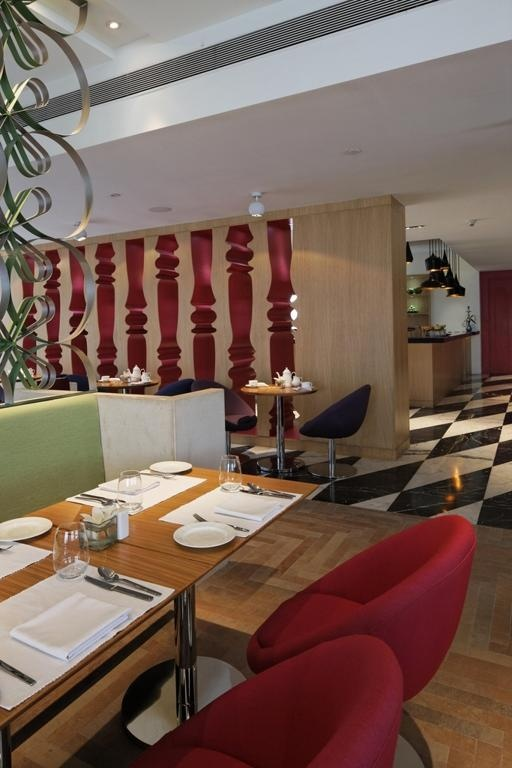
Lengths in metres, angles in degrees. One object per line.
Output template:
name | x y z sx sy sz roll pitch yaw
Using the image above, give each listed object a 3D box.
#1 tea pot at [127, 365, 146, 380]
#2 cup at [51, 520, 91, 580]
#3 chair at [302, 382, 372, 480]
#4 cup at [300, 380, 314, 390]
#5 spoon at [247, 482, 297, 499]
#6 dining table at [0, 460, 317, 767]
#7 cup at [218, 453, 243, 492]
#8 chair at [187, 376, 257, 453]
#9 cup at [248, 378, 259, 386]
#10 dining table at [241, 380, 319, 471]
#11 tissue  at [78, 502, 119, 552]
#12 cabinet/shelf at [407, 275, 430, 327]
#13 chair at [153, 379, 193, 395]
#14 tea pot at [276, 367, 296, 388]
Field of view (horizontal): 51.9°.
tea pot | -1.345 -0.120 5.980 0.231 0.221 0.168 4 5 15
cup | -0.406 0.374 1.175 0.050 0.126 0.073 1 6 32
chair | 0.852 0.402 4.799 0.718 0.916 0.789 1 2 14
cup | 0.462 0.019 4.810 0.100 0.075 0.079 2 2 17
spoon | 0.046 0.356 1.761 0.189 0.028 0.050 5 13 34
dining table | -0.287 0.639 1.460 0.452 0.427 0.859 2 8 27
cup | -0.090 0.301 1.786 0.105 0.152 0.104 0 1 0
chair | -0.250 0.420 4.965 0.334 0.395 0.339 14 12 21
cup | -0.014 -0.011 5.151 0.072 0.054 0.072 -2 3 0
dining table | 0.271 0.379 4.974 0.752 0.847 0.743 4 8 35
tissue  | -0.416 0.368 1.404 0.091 0.112 0.112 4 7 34
cabinet/shelf | 3.848 -1.985 12.654 0.490 1.219 0.661 -1 6 17
chair | -0.782 0.041 5.149 0.308 0.268 0.243 0 5 -5
tea pot | 0.293 -0.035 4.961 0.147 0.199 0.223 0 -3 6
